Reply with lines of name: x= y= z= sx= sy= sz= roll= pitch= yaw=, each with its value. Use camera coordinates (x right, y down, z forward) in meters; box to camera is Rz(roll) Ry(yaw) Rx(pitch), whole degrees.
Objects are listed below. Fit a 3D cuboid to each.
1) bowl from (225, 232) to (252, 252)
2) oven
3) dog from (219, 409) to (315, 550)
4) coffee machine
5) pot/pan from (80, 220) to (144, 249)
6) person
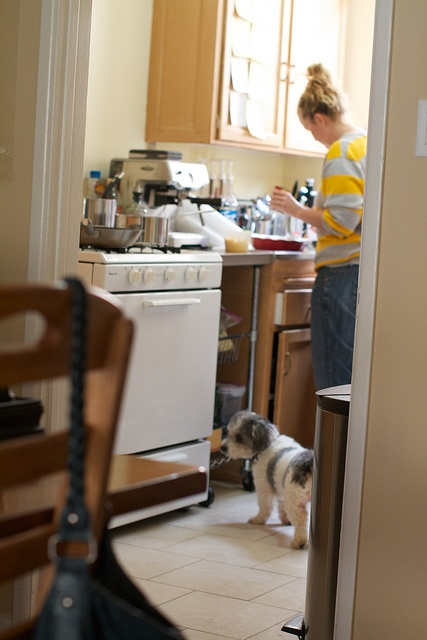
bowl: x=0.125 y=-0.414 z=2.836 sx=0.126 sy=0.112 sz=0.104 roll=1 pitch=0 yaw=-2
oven: x=-0.381 y=0.256 z=2.475 sx=0.671 sy=1.066 sz=0.665 roll=1 pitch=2 yaw=35
dog: x=0.322 y=0.664 z=2.347 sx=0.242 sy=0.506 sz=0.689 roll=-5 pitch=-1 yaw=-18
coffee machine: x=-0.303 y=-0.629 z=3.072 sx=0.568 sy=0.705 sz=0.565 roll=2 pitch=6 yaw=21
pot/pan: x=-0.431 y=-0.331 z=2.179 sx=0.128 sy=0.048 sz=0.187 roll=2 pitch=1 yaw=22
person: x=0.532 y=-0.440 z=2.418 sx=0.235 sy=1.516 sz=0.654 roll=3 pitch=0 yaw=-13
